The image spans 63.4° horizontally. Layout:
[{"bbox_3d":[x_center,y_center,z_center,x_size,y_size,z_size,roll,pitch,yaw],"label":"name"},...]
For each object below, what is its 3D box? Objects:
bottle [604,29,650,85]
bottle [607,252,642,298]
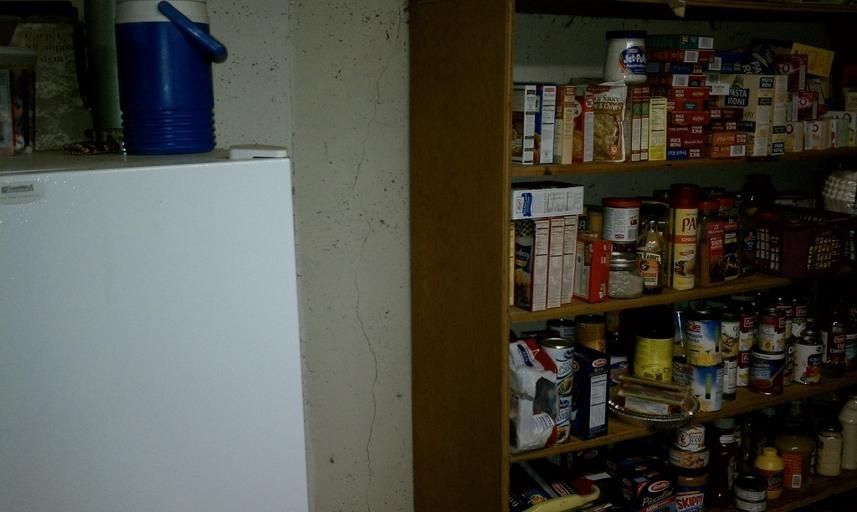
[{"bbox_3d":[0.675,-0.680,2.389,0.180,0.179,0.173,-1,9,2],"label":"bottle"},{"bbox_3d":[0.684,0.071,2.543,0.166,0.145,0.152,-3,5,-37],"label":"bottle"}]
